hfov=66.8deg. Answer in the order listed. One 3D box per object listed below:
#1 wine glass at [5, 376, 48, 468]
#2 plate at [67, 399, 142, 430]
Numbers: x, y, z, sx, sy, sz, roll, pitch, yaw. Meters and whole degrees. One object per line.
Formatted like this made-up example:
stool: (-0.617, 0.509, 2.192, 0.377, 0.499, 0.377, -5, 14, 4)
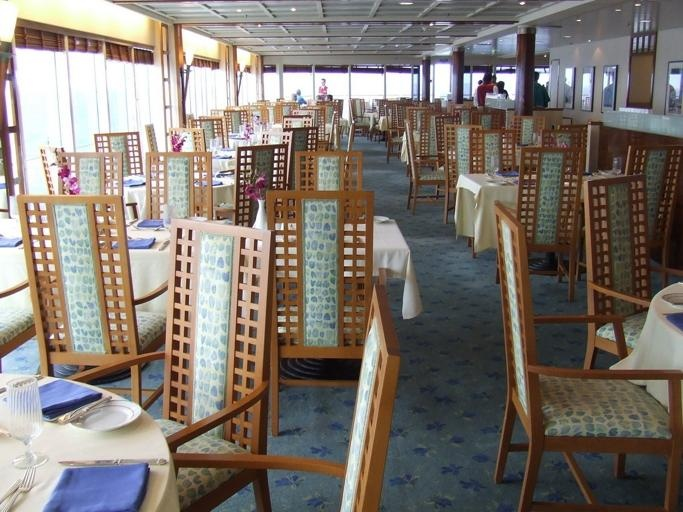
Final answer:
wine glass: (-0.832, 0.416, 1.359, 0.089, 0.223, 0.200, -12, 18, -31)
plate: (-0.688, 0.476, 1.533, 0.170, 0.029, 0.177, 8, 16, 35)
